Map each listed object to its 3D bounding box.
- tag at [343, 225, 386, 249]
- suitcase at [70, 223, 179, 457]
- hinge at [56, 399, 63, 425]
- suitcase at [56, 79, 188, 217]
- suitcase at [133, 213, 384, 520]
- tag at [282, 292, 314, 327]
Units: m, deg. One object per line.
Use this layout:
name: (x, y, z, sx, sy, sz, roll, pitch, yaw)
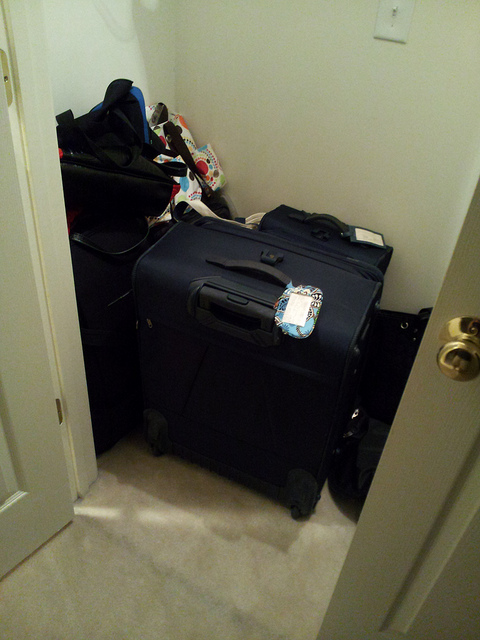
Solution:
tag: (0.342, -0.210, 1.413, 0.108, 0.024, 0.073, 16, 40, -8)
suitcase: (-0.313, 0.133, 1.389, 0.269, 0.457, 0.262, -9, -14, 11)
hinge: (-0.399, 0.203, 1.118, 0.009, 0.069, 0.010, 13, 30, 8)
suitcase: (-0.295, -0.407, 1.204, 0.260, 0.128, 0.363, 10, 69, -26)
suitcase: (0.045, 0.089, 1.357, 0.555, 0.719, 0.397, 18, 42, 19)
tag: (0.118, -0.022, 1.035, 0.046, 0.039, 0.066, 16, 31, 11)
